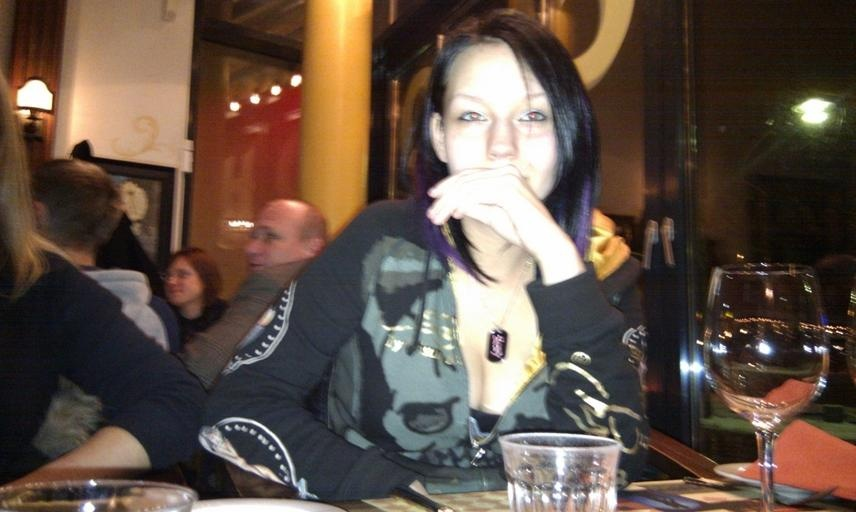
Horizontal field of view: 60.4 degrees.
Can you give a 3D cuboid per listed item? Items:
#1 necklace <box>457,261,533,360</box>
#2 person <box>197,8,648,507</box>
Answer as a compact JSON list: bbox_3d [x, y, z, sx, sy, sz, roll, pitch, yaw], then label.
[{"bbox_3d":[0.196,0.166,2.206,0.192,0.287,0.072,3,-4,-4],"label":"necklace"},{"bbox_3d":[0.060,0.001,2.358,1.373,1.432,0.952,2,2,6],"label":"person"}]
